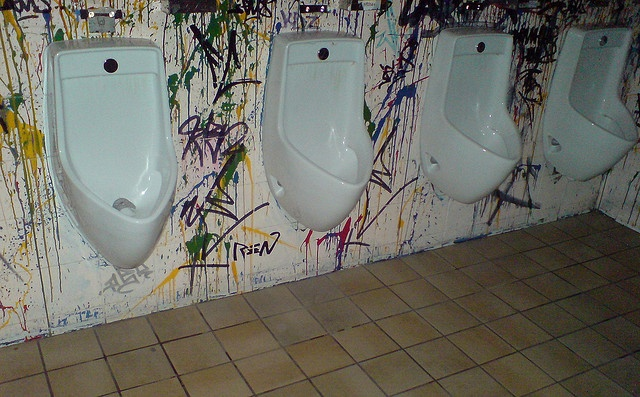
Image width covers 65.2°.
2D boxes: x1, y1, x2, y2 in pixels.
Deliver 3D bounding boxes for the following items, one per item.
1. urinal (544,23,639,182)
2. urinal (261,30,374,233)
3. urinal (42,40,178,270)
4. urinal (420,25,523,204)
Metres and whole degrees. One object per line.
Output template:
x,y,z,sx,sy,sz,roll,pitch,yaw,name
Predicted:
1.946,-0.630,3.495,0.602,1.009,0.519,-7,31,-18,urinal
0.077,-0.333,2.988,0.725,1.110,0.723,-5,37,-26,urinal
-1.036,-0.200,2.561,0.619,1.101,0.614,-12,33,-26,urinal
0.958,-0.506,3.151,0.622,1.002,0.556,5,29,4,urinal
